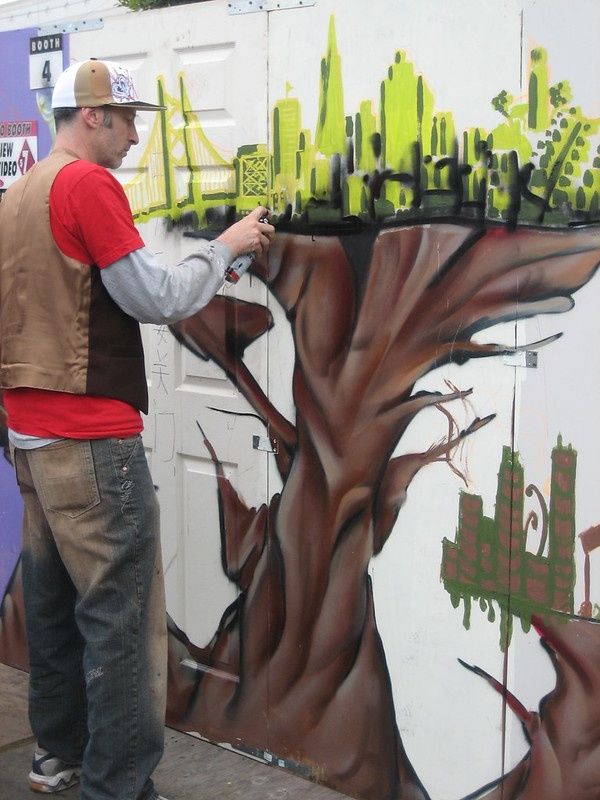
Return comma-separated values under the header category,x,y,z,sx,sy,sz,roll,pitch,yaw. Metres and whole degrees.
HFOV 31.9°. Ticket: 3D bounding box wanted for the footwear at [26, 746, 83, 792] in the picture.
category,x,y,z,sx,sy,sz,roll,pitch,yaw
footwear,-0.754,1.142,3.266,0.184,0.173,0.073,-2,4,-43
